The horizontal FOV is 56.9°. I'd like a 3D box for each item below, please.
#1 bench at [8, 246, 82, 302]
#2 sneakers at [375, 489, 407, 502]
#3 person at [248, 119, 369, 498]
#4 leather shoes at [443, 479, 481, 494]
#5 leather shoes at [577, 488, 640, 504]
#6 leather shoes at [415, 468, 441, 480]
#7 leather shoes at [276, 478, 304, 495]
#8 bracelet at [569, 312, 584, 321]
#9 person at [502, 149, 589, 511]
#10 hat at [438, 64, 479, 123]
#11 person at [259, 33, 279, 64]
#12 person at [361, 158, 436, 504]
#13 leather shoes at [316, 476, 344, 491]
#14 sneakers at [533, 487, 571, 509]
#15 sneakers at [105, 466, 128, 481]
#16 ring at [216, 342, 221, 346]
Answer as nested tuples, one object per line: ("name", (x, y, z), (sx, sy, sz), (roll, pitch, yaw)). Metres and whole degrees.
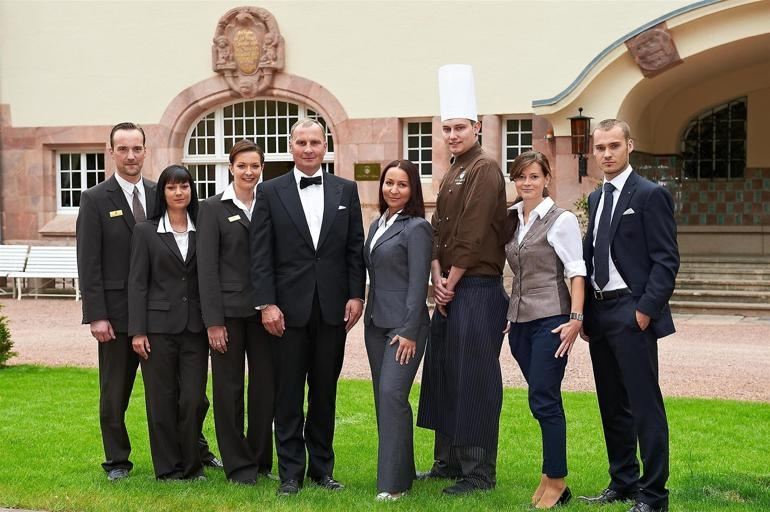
("bench", (-8.215, 0.377, 17.161), (1.366, 1.233, 2.666), (-3, 6, -28))
("sneakers", (0.045, 1.954, 5.817), (0.224, 0.084, 0.080), (8, -3, -28))
("person", (-0.649, 0.412, 6.167), (0.992, 3.193, 0.672), (-1, 6, -9))
("leather shoes", (0.642, 1.951, 5.983), (0.245, 0.082, 0.123), (3, -5, -3))
("leather shoes", (1.826, 1.988, 5.848), (0.465, 0.155, 0.162), (2, -11, 0))
("leather shoes", (0.399, 1.975, 6.450), (0.251, 0.100, 0.083), (2, -9, 9))
("leather shoes", (-0.804, 1.945, 6.018), (0.202, 0.093, 0.210), (0, 6, -8))
("bracelet", (1.548, 0.487, 5.754), (0.098, 0.056, 0.093), (3, -2, 5))
("person", (1.336, 0.566, 5.935), (0.533, 2.847, 0.760), (-1, 6, -9))
("hat", (0.659, -1.480, 6.408), (0.332, 0.552, 0.451), (1, 6, 5))
("person", (-2.739, -4.965, 16.937), (0.484, 0.706, 0.120), (2, 7, 20))
("person", (0.118, 0.575, 5.990), (0.571, 2.775, 0.811), (0, 6, -3))
("leather shoes", (-0.475, 1.958, 6.149), (0.247, 0.098, 0.091), (-2, -1, 30))
("sneakers", (1.374, 1.981, 5.752), (0.393, 0.142, 0.130), (-7, 1, -1))
("sneakers", (-2.318, 1.891, 6.182), (0.174, 0.075, 0.078), (15, -1, -29))
("ring", (-1.434, 0.760, 6.134), (0.027, 0.021, 0.039), (3, -4, -2))
